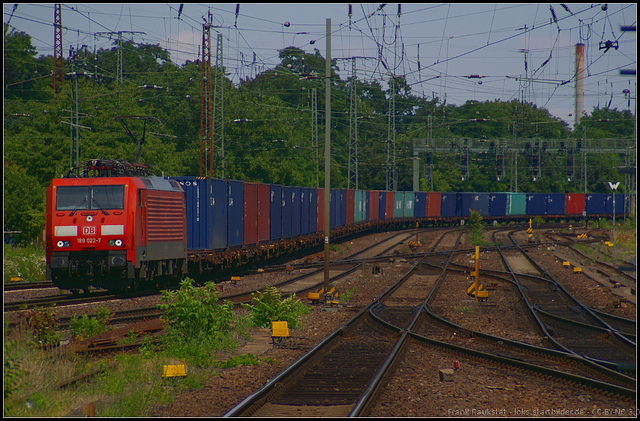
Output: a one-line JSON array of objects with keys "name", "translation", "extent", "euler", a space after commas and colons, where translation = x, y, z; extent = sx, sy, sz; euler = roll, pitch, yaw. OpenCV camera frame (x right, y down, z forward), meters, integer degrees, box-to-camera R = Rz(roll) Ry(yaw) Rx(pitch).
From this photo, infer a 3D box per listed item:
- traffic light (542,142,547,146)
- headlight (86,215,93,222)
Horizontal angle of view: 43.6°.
[{"name": "traffic light", "translation": [22.463, -6.679, 79.841], "extent": [0.411, 0.511, 0.718], "euler": [3, -3, 3]}, {"name": "headlight", "translation": [-9.932, 0.335, 34.395], "extent": [0.260, 0.254, 0.058], "euler": [-4, 0, -1]}]
